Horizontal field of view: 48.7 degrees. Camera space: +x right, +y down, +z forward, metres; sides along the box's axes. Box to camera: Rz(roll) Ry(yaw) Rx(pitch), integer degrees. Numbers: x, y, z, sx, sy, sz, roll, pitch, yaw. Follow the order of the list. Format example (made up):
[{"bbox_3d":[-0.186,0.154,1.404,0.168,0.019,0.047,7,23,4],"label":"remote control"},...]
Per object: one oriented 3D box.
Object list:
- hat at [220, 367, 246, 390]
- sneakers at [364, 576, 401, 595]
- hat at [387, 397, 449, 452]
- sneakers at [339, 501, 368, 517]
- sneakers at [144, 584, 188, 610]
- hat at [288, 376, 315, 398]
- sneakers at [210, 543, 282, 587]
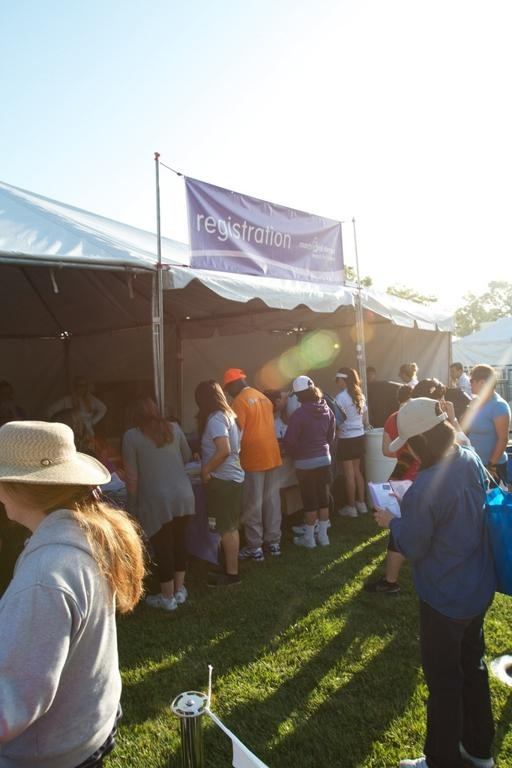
[{"bbox_3d":[-0.177,-0.045,4.693,0.182,0.148,0.283,-8,4,31],"label":"hat"},{"bbox_3d":[0.874,1.392,3.934,0.237,0.105,0.109,5,-6,11],"label":"sneakers"},{"bbox_3d":[0.600,0.155,2.153,0.251,0.140,0.164,-31,-17,19],"label":"hat"},{"bbox_3d":[1.036,1.343,6.010,0.290,0.119,0.136,-4,-18,-8],"label":"sneakers"},{"bbox_3d":[-0.626,1.449,3.846,0.216,0.089,0.117,4,3,36],"label":"sneakers"},{"bbox_3d":[0.431,0.033,5.184,0.347,0.162,0.210,-1,9,-10],"label":"hat"},{"bbox_3d":[-0.101,1.447,4.472,0.546,0.222,0.179,3,-7,-28],"label":"sneakers"}]
